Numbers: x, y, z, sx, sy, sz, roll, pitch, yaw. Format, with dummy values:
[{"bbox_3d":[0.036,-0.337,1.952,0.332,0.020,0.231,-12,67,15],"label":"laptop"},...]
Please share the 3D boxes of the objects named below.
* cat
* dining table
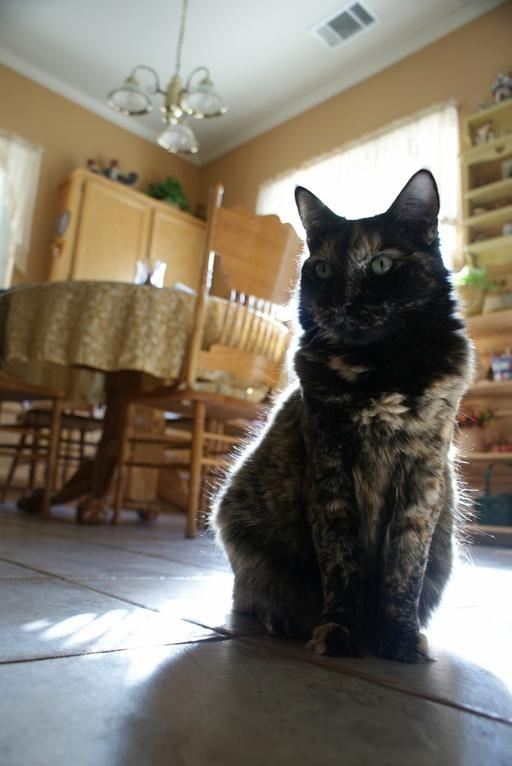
[{"bbox_3d":[0.110,0.004,0.859,0.360,0.687,0.300,5,-5,18],"label":"cat"},{"bbox_3d":[-0.467,0.071,2.378,0.985,0.805,0.947,10,-3,-32],"label":"dining table"}]
